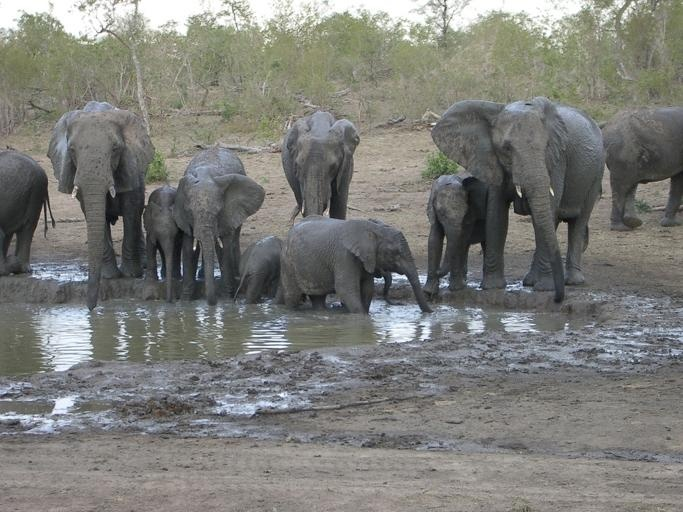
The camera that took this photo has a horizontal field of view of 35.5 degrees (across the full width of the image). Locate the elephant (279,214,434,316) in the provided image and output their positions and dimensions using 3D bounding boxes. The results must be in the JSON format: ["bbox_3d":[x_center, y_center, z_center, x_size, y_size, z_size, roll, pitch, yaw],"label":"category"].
[{"bbox_3d":[0.073,0.109,13.187,1.777,1.179,0.544,-2,0,27],"label":"elephant"}]

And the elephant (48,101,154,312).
[{"bbox_3d":[-3.281,-0.736,14.284,1.217,2.826,1.663,-2,0,17],"label":"elephant"}]

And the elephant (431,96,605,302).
[{"bbox_3d":[2.432,-0.727,13.426,1.945,2.485,1.545,-2,0,-36],"label":"elephant"}]
